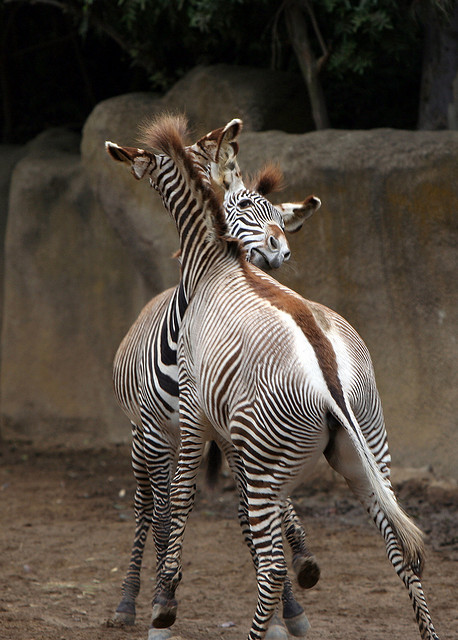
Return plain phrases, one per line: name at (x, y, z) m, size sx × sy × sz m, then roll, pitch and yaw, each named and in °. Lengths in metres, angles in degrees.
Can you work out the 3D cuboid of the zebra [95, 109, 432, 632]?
zebra at (0.213, 0.355, 5.605) m, size 1.789 × 2.973 × 2.399 m, roll 1°, pitch 9°, yaw 0°
